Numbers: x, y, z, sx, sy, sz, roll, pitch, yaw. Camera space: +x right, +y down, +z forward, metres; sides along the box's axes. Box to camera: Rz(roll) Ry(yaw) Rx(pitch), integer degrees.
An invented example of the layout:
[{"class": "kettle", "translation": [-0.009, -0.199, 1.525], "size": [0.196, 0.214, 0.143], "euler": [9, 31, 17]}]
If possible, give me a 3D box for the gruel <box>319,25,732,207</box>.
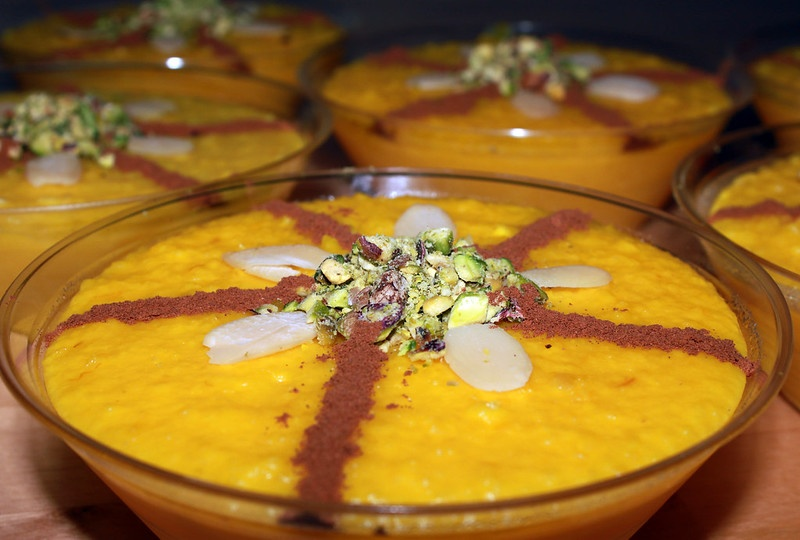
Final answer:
[{"class": "gruel", "translation": [0.255, -0.261, 1.635], "size": [0.734, 0.190, 0.661], "euler": [8, 29, 12]}]
